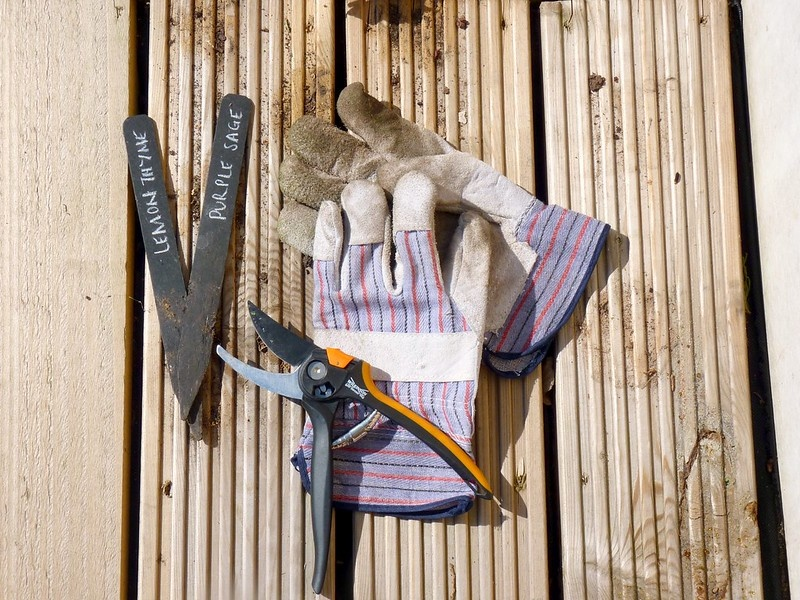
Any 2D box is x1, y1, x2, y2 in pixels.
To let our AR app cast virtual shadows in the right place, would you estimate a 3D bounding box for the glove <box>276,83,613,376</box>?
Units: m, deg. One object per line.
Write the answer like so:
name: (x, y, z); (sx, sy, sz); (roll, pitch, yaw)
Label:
glove: (0.080, -0.171, 4.011); (0.705, 0.227, 0.534); (32, 87, 1)
